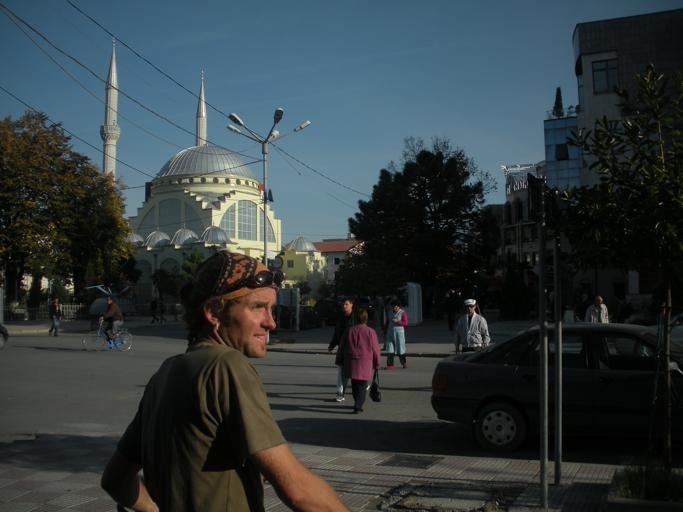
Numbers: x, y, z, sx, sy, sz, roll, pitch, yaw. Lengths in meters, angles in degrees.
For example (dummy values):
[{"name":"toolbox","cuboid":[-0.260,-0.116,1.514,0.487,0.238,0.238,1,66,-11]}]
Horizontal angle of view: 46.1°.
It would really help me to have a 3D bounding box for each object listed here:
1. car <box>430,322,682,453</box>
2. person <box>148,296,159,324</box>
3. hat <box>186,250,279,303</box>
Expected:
[{"name":"car","cuboid":[3.045,1.898,11.539,3.484,1.352,1.629,-4,-4,15]},{"name":"person","cuboid":[-12.111,3.583,51.859,0.502,1.484,1.580,-1,-4,-5]},{"name":"hat","cuboid":[-0.801,0.224,5.677,0.439,0.293,0.410,-7,-7,-22]}]
